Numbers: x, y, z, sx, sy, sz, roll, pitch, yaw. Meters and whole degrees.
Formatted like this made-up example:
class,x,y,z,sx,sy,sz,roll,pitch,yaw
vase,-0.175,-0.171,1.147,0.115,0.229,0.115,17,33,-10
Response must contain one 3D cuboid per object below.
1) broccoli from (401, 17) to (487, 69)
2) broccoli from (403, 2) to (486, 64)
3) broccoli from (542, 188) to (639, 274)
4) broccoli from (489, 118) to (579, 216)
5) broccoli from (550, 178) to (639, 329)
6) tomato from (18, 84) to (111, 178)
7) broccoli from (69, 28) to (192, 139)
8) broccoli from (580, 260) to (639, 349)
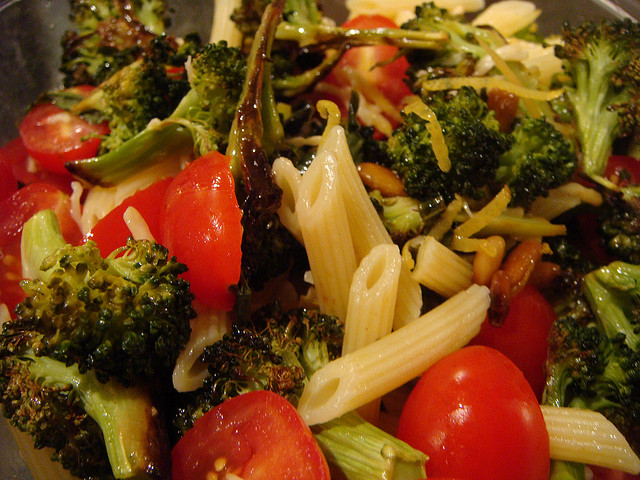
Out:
class,x,y,z,sx,sy,sz,roll,pitch,yaw
broccoli,0.561,-0.855,2.739,0.283,0.140,0.213,15,55,15
broccoli,0.571,-0.930,2.791,0.371,0.237,0.292,10,23,19
broccoli,1.097,-0.011,2.523,0.161,0.317,0.326,-45,20,-28
broccoli,0.844,-0.304,2.511,0.263,0.382,0.193,-5,-13,-1
broccoli,1.072,0.034,2.499,0.337,0.570,0.195,-4,3,-11
tomato,-1.114,-0.428,2.688,0.302,0.354,0.193,23,-13,4
broccoli,-0.765,-0.626,2.648,0.528,0.364,0.132,-43,-8,-8
broccoli,1.102,0.246,2.356,0.184,0.301,0.092,-11,-8,42
